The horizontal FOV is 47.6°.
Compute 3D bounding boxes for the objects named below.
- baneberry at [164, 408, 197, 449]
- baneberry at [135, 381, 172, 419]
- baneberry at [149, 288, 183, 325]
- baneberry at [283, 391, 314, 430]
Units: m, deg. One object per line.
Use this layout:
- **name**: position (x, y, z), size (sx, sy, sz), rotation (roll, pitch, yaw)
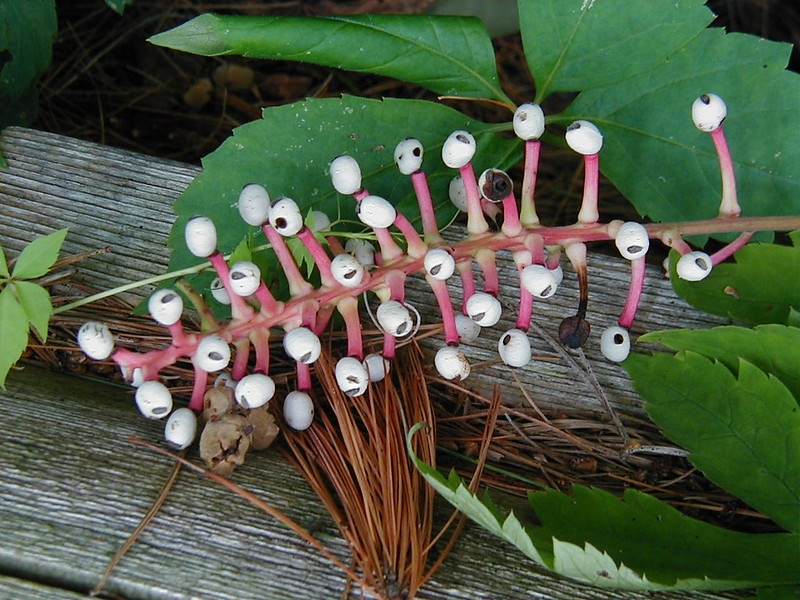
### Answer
- **baneberry**: position (-0.359, 0.210, 1.486), size (0.065, 0.058, 0.056), rotation (0, -6, 3)
- **baneberry**: position (-0.406, 0.164, 1.540), size (0.063, 0.046, 0.070), rotation (-5, 23, -31)
- **baneberry**: position (-0.386, 0.013, 1.502), size (0.050, 0.063, 0.048), rotation (-34, 45, -29)
- **baneberry**: position (-0.175, 0.187, 1.563), size (0.064, 0.058, 0.055), rotation (-2, 15, -10)
